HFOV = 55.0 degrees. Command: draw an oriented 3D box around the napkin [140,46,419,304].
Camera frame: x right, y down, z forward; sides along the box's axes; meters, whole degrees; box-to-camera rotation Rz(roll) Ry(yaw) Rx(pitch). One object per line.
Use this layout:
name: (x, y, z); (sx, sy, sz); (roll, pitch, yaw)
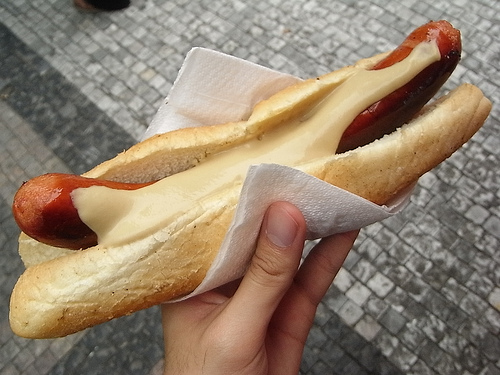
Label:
napkin: (0.073, -0.259, 2.850); (1.274, 0.727, 1.365); (-23, 80, -7)
